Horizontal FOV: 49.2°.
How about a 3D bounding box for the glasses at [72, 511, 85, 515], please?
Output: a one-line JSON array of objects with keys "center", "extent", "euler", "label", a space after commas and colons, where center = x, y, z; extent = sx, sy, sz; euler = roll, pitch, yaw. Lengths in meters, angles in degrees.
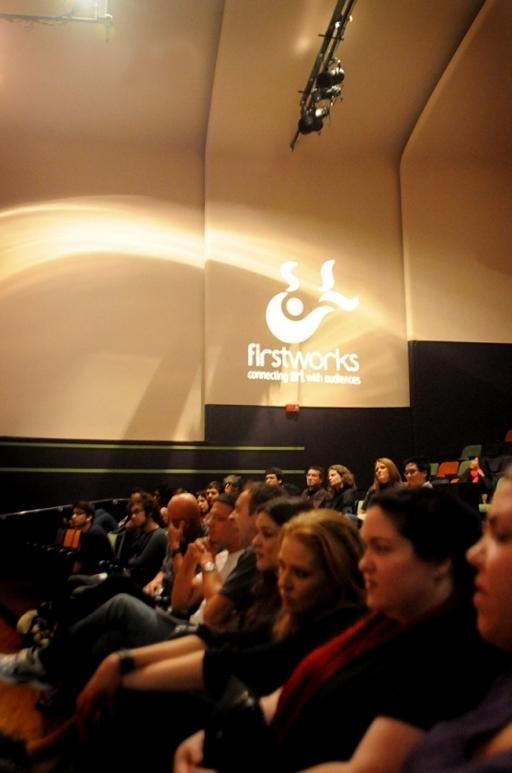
[{"center": [-1.407, 1.000, 4.437], "extent": [0.049, 0.025, 0.050], "euler": [-4, -35, 8], "label": "glasses"}]
